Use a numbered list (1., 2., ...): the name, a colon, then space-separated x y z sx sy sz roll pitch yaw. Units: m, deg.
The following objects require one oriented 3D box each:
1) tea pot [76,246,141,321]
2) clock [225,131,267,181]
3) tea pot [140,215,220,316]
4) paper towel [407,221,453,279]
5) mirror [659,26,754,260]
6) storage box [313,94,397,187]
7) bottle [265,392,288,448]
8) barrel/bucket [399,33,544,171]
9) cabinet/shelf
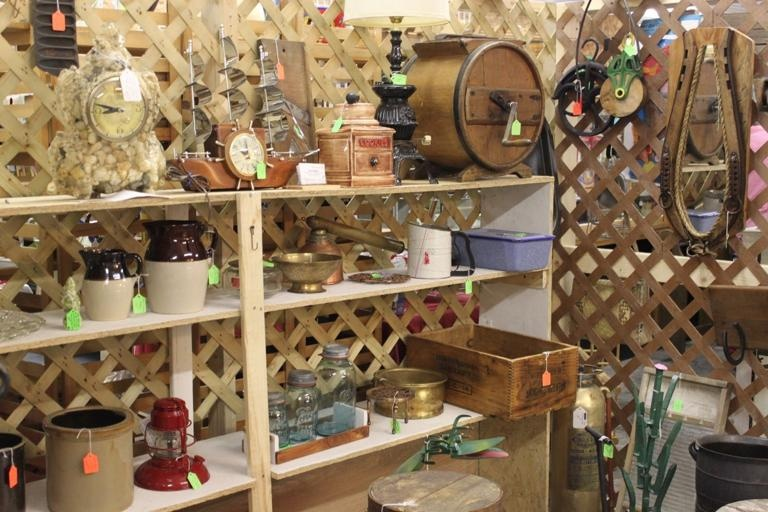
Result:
1. tea pot: -0.920 0.096 2.347 0.236 0.261 0.182 3 -2 -30
2. clock: -0.482 -0.364 2.517 0.168 0.183 0.049 -4 11 13
3. tea pot: -0.715 0.025 2.525 0.297 0.330 0.223 -6 12 -39
4. paper towel: 0.202 -0.033 3.045 0.193 0.228 0.208 7 14 17
5. mirror: 1.392 -0.502 3.047 0.331 0.957 0.093 8 16 39
6. storage box: -0.108 -0.460 2.838 0.291 0.354 0.317 2 5 34
7. bottle: -0.408 0.637 2.694 0.095 0.182 0.102 -8 -2 0
8. barrel/bucket: 0.427 -0.651 3.159 0.496 0.613 0.641 -7 11 -29
9. cabinet/shelf: -0.338 0.356 2.872 2.200 1.332 0.625 -8 9 -30
